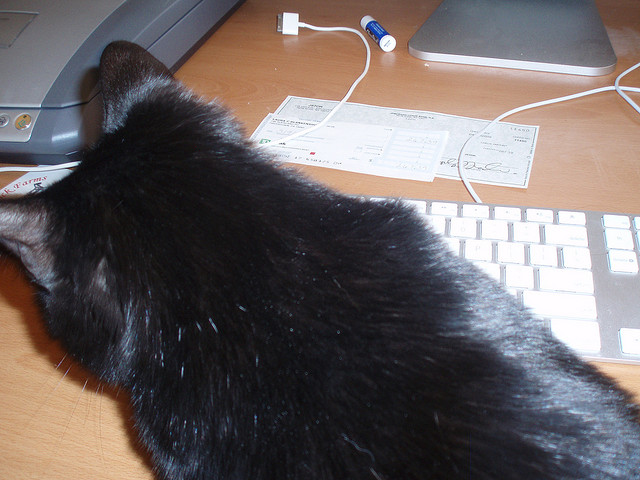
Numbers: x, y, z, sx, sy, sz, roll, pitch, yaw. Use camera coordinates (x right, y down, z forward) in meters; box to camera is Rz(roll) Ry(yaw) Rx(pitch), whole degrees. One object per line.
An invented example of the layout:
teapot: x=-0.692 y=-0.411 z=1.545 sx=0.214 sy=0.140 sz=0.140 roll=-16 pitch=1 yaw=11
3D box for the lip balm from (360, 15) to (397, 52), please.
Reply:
lip balm: x=0.098 y=-0.381 z=1.052 sx=0.035 sy=0.034 sz=0.102 roll=-38 pitch=56 yaw=-1
